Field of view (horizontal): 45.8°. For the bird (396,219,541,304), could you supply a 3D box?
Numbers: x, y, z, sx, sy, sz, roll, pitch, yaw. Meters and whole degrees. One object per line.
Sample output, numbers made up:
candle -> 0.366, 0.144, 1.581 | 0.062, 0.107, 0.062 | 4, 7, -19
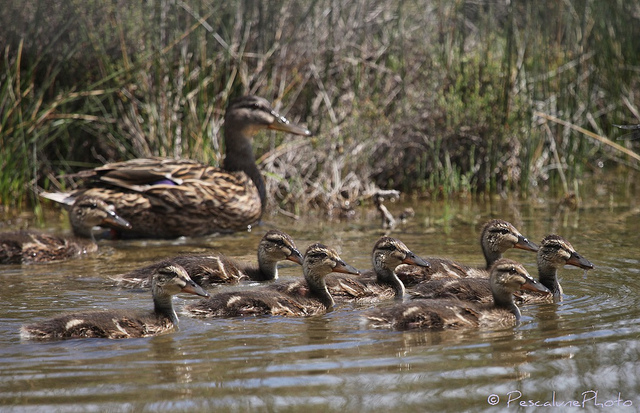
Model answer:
bird -> 1.814, 0.818, 8.978 | 1.601, 1.179, 0.641 | -4, -3, -1

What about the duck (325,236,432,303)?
duck -> 0.640, 0.683, 9.014 | 1.410, 0.996, 0.574 | -1, 13, -6

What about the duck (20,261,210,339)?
duck -> -1.998, 0.882, 7.520 | 1.845, 0.866, 0.574 | -4, 15, -26

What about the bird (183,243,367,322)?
bird -> -0.456, 0.800, 8.327 | 2.019, 0.835, 0.692 | -3, 9, -27
